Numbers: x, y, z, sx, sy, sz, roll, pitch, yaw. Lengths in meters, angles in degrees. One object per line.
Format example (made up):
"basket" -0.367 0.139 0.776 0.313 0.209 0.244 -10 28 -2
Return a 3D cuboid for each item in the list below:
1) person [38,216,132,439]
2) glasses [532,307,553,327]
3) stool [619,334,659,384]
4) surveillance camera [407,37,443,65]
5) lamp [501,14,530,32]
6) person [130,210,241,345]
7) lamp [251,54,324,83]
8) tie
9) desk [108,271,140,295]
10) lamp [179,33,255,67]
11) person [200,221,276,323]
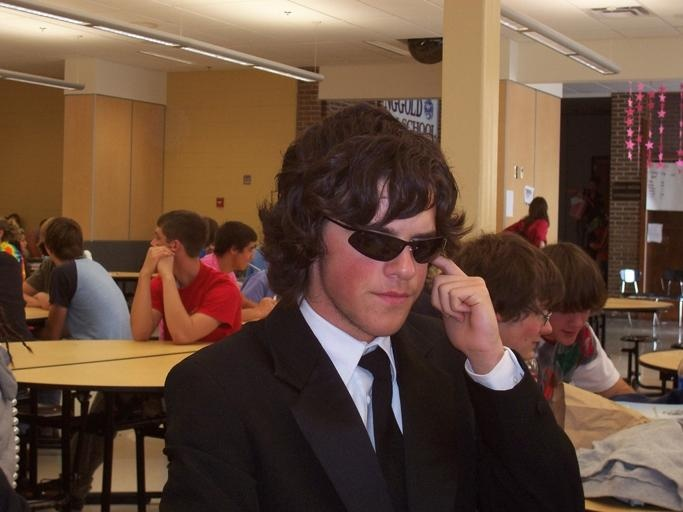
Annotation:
"person" -1.960 0.267 4.501 0.703 1.107 0.687 -3 -3 -27
"glasses" 0.686 0.204 2.111 0.066 0.025 0.072 7 -33 -11
"stool" 3.295 1.115 6.982 0.471 0.601 0.485 0 -8 42
"surveillance camera" 1.305 -3.231 9.741 0.550 0.309 0.602 -2 1 5
"lamp" 1.644 -2.203 5.947 0.215 0.058 0.193 10 6 -31
"person" -0.936 0.272 3.717 0.592 1.108 0.689 -2 -5 -17
"lamp" -0.868 -3.252 10.675 0.176 0.115 1.052 -29 -20 37
"tie" 0.082 0.312 1.325 0.063 0.299 0.072 2 -15 -21
"desk" -2.837 0.346 8.061 0.285 0.230 0.462 0 -1 34
"lamp" -1.641 -2.667 7.988 0.306 0.203 1.314 -1 1 28
"person" -0.850 0.128 5.109 0.802 0.768 0.539 5 9 -21
